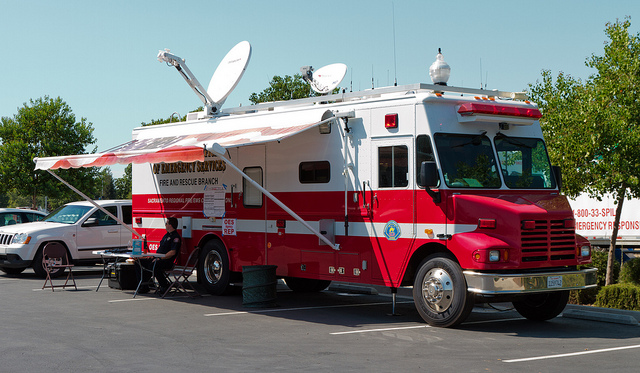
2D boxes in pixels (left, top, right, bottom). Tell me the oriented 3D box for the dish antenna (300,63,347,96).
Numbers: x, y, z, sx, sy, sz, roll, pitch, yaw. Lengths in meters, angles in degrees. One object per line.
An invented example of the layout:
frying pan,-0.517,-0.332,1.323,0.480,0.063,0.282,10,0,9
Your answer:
dish antenna,0.133,-3.351,20.281,1.015,1.009,1.306,-2,4,-26

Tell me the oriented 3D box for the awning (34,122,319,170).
awning,-4.250,-1.149,18.285,8.427,1.343,2.662,3,4,33

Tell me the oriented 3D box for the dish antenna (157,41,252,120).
dish antenna,-3.310,-3.246,19.960,2.655,2.332,1.059,4,5,43

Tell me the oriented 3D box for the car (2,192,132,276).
car,-8.141,1.751,23.365,5.319,2.255,2.630,5,-7,-40

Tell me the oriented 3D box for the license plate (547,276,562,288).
license plate,5.474,2.209,15.007,0.434,0.275,0.036,-1,5,-24
